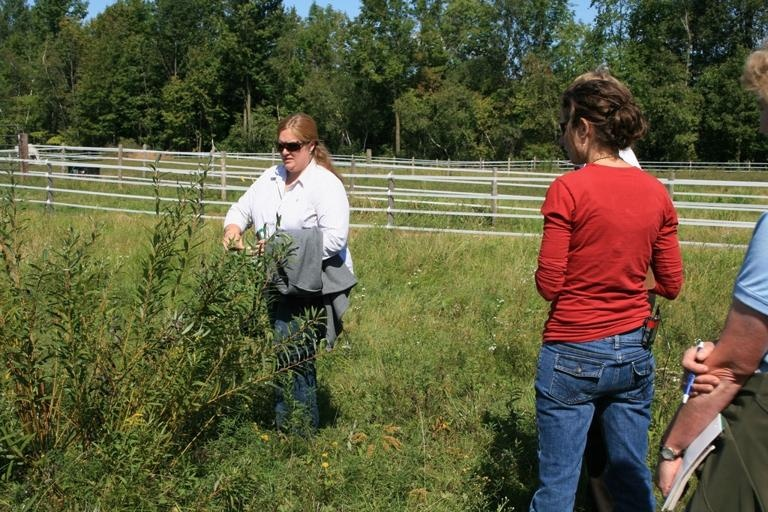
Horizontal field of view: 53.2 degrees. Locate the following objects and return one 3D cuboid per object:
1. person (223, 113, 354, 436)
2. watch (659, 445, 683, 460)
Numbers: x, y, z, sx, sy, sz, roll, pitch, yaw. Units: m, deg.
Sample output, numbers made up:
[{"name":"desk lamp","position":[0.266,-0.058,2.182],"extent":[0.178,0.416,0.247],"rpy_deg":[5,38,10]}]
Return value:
[{"name":"person","position":[-0.762,-0.246,6.296],"extent":[1.032,1.760,0.971],"rpy_deg":[5,14,20]},{"name":"watch","position":[1.709,1.177,4.550],"extent":[0.113,0.074,0.107],"rpy_deg":[23,16,30]}]
